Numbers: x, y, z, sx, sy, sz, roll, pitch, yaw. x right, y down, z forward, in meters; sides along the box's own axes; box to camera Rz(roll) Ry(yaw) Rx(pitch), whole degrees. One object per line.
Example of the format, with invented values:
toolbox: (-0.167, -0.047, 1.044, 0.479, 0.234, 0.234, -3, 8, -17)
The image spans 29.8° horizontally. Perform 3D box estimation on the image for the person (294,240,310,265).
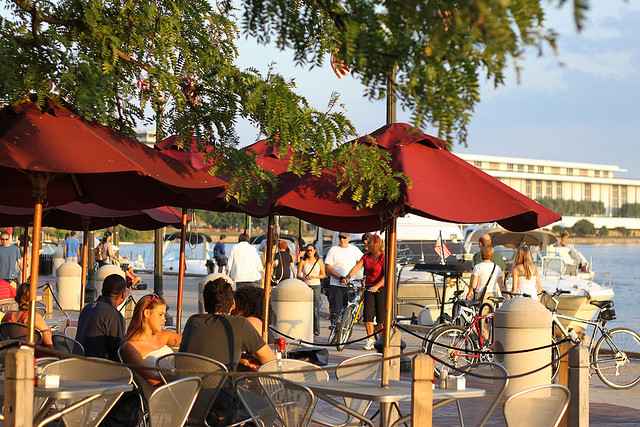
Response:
person: (-0.507, 1.011, 30.561, 0.243, 0.841, 0.292, -6, 31, -7)

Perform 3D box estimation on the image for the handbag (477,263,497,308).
handbag: (2.767, 1.196, 20.135, 0.113, 0.827, 0.088, 23, -34, 8)

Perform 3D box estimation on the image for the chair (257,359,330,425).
chair: (-0.325, 2.040, 13.834, 0.663, 1.015, 0.795, -8, 1, -5)

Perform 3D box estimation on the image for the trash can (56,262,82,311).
trash can: (-5.396, 1.553, 25.674, 0.480, 0.992, 0.397, 4, -3, -17)

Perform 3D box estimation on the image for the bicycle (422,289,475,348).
bicycle: (2.032, 1.667, 18.997, 1.302, 0.893, 0.656, 1, -6, -25)

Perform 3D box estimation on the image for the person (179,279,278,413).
person: (-1.107, 1.722, 14.321, 1.192, 1.792, 1.091, 3, -9, 3)

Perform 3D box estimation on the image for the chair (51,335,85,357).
chair: (-3.067, 1.623, 14.587, 0.240, 0.359, 0.240, 12, 17, 40)

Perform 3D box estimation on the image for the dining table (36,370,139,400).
dining table: (-2.635, 1.965, 13.348, 1.026, 0.327, 0.926, 4, -4, -13)

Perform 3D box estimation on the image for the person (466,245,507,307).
person: (2.848, 1.347, 20.706, 0.721, 1.734, 0.486, -1, 23, 5)

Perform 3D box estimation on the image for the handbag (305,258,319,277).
handbag: (-0.158, 1.075, 23.849, 0.055, 0.485, 0.054, 38, -12, -12)

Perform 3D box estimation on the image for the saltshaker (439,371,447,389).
saltshaker: (1.380, 1.898, 13.595, 0.071, 0.198, 0.115, 2, -3, 6)

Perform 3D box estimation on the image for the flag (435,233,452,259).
flag: (3.371, 0.940, 33.298, 0.744, 0.046, 1.026, 18, -28, 22)

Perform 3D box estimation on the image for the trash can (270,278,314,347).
trash can: (-0.425, 1.659, 20.552, 0.904, 1.724, 0.958, 0, -1, -4)
